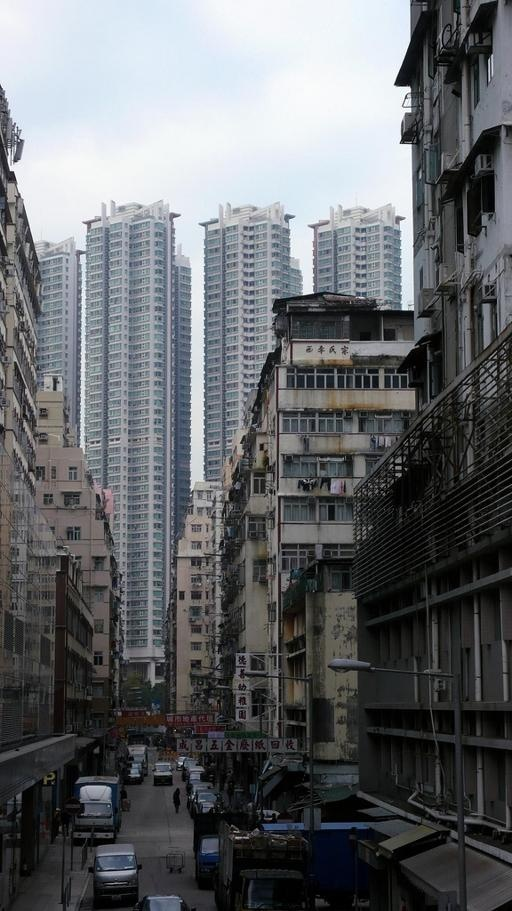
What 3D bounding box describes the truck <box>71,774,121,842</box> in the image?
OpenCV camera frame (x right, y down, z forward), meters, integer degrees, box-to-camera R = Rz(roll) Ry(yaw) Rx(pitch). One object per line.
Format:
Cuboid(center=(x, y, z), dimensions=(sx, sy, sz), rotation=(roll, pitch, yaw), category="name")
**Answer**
Cuboid(center=(-6.087, 13.610, 52.524), dimensions=(1.735, 2.342, 9.544), rotation=(3, -7, -6), category="truck")
